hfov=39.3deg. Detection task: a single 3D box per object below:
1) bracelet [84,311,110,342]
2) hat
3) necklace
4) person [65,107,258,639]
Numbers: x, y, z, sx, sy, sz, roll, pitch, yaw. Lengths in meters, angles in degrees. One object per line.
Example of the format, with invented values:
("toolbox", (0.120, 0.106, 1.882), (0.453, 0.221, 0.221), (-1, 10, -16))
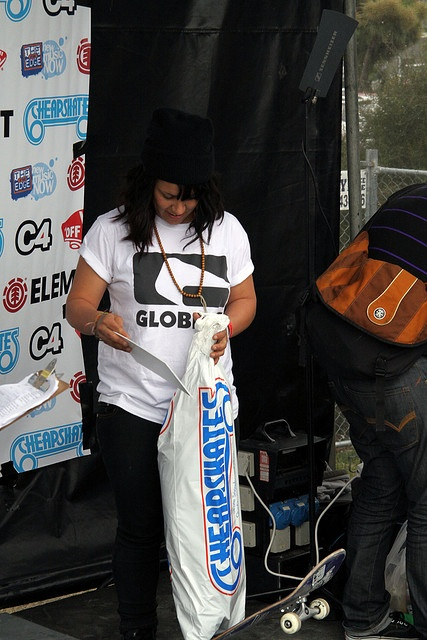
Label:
("bracelet", (-0.262, 0.010, 1.336), (0.016, 0.061, 0.059), (26, -7, -5))
("hat", (-0.084, -0.378, 1.361), (0.163, 0.128, 0.165), (-3, 19, -38))
("necklace", (-0.086, -0.109, 1.446), (0.083, 0.256, 0.010), (-14, -10, -38))
("person", (-0.071, 0.265, 1.508), (0.493, 1.513, 0.375), (-9, 17, -18))
